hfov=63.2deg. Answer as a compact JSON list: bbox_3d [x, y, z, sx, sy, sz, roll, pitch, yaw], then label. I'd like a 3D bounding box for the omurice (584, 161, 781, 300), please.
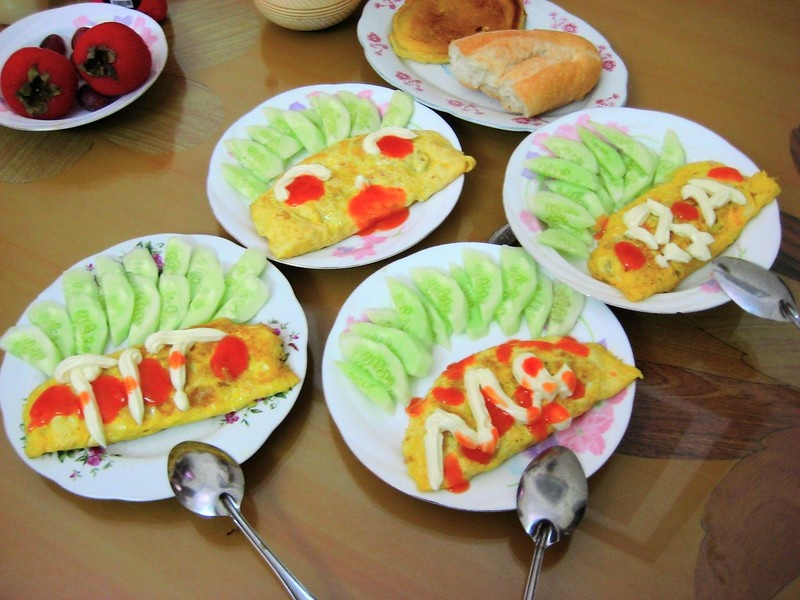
[{"bbox_3d":[1.145,-0.227,2.731,0.816,0.190,0.441,-38,65,-9],"label":"omurice"}]

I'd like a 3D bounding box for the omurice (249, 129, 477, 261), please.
[{"bbox_3d":[-0.181,-0.431,3.030,0.920,0.168,0.497,-24,69,-13],"label":"omurice"}]
